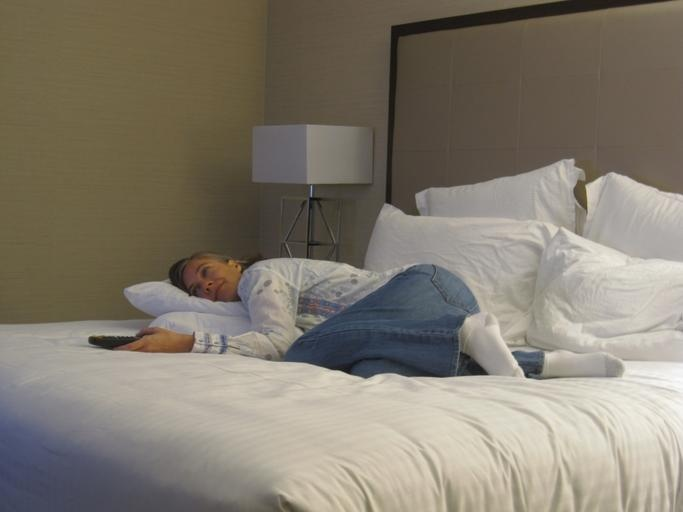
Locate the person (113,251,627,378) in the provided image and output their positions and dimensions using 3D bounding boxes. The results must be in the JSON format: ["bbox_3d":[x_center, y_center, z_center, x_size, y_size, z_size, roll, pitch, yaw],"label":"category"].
[{"bbox_3d":[0.025,0.210,2.127,0.940,0.286,0.651,-1,-18,20],"label":"person"}]

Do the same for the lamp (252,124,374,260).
[{"bbox_3d":[-0.185,-0.385,3.987,0.572,0.860,0.526,12,14,40],"label":"lamp"}]

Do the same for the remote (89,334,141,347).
[{"bbox_3d":[-0.761,0.284,2.122,0.116,0.027,0.069,-4,-11,-14],"label":"remote"}]
